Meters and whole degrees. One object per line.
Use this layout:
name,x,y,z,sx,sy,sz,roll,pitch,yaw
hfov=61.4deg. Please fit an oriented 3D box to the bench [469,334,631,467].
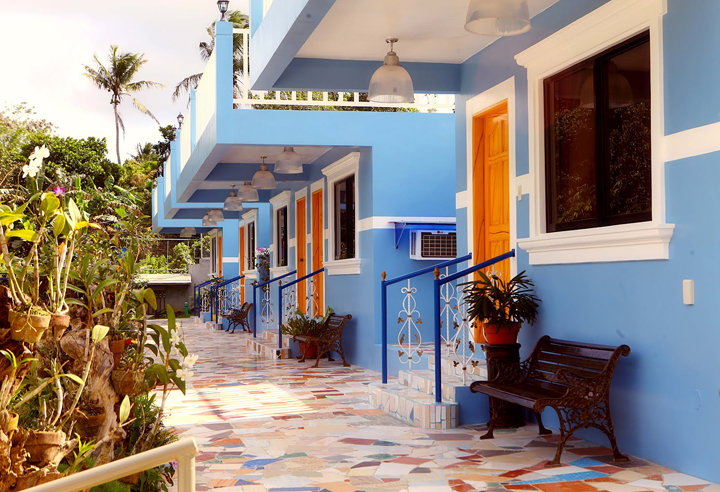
bench,1.865,1.430,5.784,0.969,1.074,1.241,2,-6,-20

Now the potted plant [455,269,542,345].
potted plant,1.584,0.652,6.738,0.810,0.883,0.848,-2,3,6

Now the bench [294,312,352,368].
bench,-0.681,1.749,11.355,0.916,0.964,1.269,2,-6,-16

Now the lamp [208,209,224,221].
lamp,-3.935,-0.882,16.577,0.318,0.354,0.624,0,-6,-2

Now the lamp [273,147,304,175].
lamp,-1.161,-1.465,10.350,0.467,0.533,0.472,-7,-9,44

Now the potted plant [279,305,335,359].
potted plant,-1.039,1.657,11.601,0.961,1.130,0.997,2,-2,4

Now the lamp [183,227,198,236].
lamp,-6.571,-0.542,23.152,0.401,0.315,0.399,-3,11,-38

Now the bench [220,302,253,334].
bench,-3.908,2.325,19.583,1.037,1.288,0.984,3,-7,-19

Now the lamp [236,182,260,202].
lamp,-2.311,-1.096,12.587,0.517,0.599,0.534,-3,4,-19

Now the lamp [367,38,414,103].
lamp,0.345,-2.087,7.376,0.592,0.687,0.616,1,-4,-6

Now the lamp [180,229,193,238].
lamp,-6.605,-0.510,23.145,0.385,0.401,0.369,-2,-4,-33

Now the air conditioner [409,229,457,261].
air conditioner,1.378,-0.004,10.588,0.761,0.548,0.422,1,-4,2
